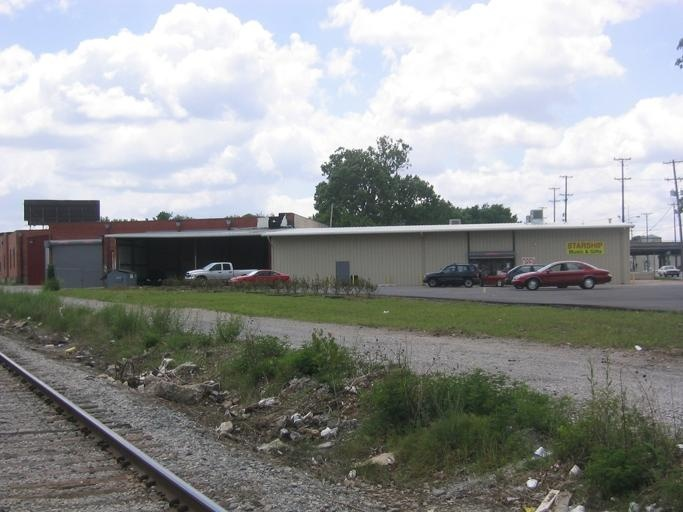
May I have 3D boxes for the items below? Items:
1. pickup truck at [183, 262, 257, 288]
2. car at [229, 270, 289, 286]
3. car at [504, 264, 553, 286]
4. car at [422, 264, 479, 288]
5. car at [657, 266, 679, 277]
[{"bbox_3d":[-7.017,0.646,43.484,4.190,1.526,1.697,1,-2,-27],"label":"pickup truck"},{"bbox_3d":[-4.378,0.827,40.563,2.874,1.058,1.371,3,-4,-10],"label":"car"},{"bbox_3d":[9.727,0.997,40.271,1.747,0.942,1.070,1,2,6],"label":"car"},{"bbox_3d":[6.270,1.063,42.472,2.534,1.206,1.253,2,-1,14],"label":"car"},{"bbox_3d":[34.184,1.521,79.039,1.201,0.779,2.373,-1,4,2],"label":"car"}]
